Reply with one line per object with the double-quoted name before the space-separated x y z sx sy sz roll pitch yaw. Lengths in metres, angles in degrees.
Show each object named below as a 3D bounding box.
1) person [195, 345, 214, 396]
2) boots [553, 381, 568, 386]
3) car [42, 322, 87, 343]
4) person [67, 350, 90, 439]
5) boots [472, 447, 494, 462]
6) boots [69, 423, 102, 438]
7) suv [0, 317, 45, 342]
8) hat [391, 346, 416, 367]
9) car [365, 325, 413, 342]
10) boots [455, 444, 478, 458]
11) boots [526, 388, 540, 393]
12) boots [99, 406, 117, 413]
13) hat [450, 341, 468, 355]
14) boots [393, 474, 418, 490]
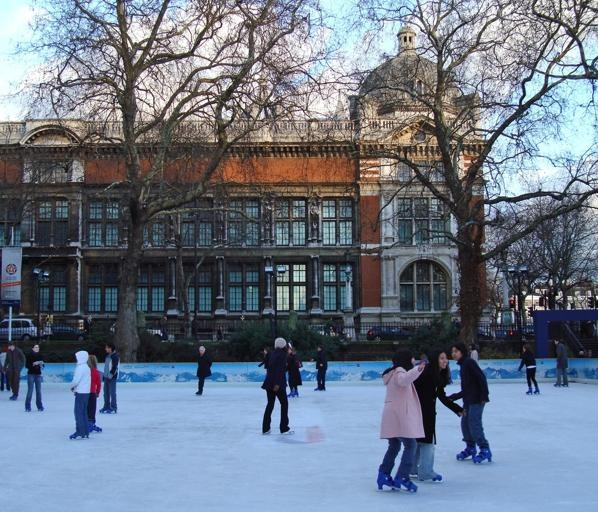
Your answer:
"person" -3.382 4.137 40.104 0.532 1.770 1.144 -1 -6 -6
"boots" 10.271 5.032 43.783 0.558 0.283 0.208 2 -4 14
"car" -13.333 4.357 63.999 2.433 1.267 3.554 -1 -8 -4
"person" -5.602 3.590 28.845 0.521 2.263 1.074 0 -6 -10
"boots" 4.281 4.637 25.939 0.499 0.342 0.274 0 -7 -11
"boots" -5.568 4.619 29.317 0.765 0.600 0.277 1 -10 6
"suv" -16.061 4.055 64.601 2.656 1.563 1.587 3 -6 -5
"hat" 2.302 2.225 24.297 0.365 0.459 0.401 3 -5 10
"car" 5.014 4.315 62.086 2.338 1.226 6.078 -2 -8 3
"boots" 3.959 4.637 26.140 0.515 0.428 0.220 2 -4 -7
"boots" 8.333 4.820 39.750 0.490 0.253 0.196 0 -3 10
"boots" -5.709 4.677 33.716 0.532 0.279 0.196 -1 0 -3
"hat" 3.740 2.178 26.002 0.284 0.297 0.227 -1 -1 24
"boots" 2.307 4.856 23.929 0.446 0.261 0.263 -1 0 29
